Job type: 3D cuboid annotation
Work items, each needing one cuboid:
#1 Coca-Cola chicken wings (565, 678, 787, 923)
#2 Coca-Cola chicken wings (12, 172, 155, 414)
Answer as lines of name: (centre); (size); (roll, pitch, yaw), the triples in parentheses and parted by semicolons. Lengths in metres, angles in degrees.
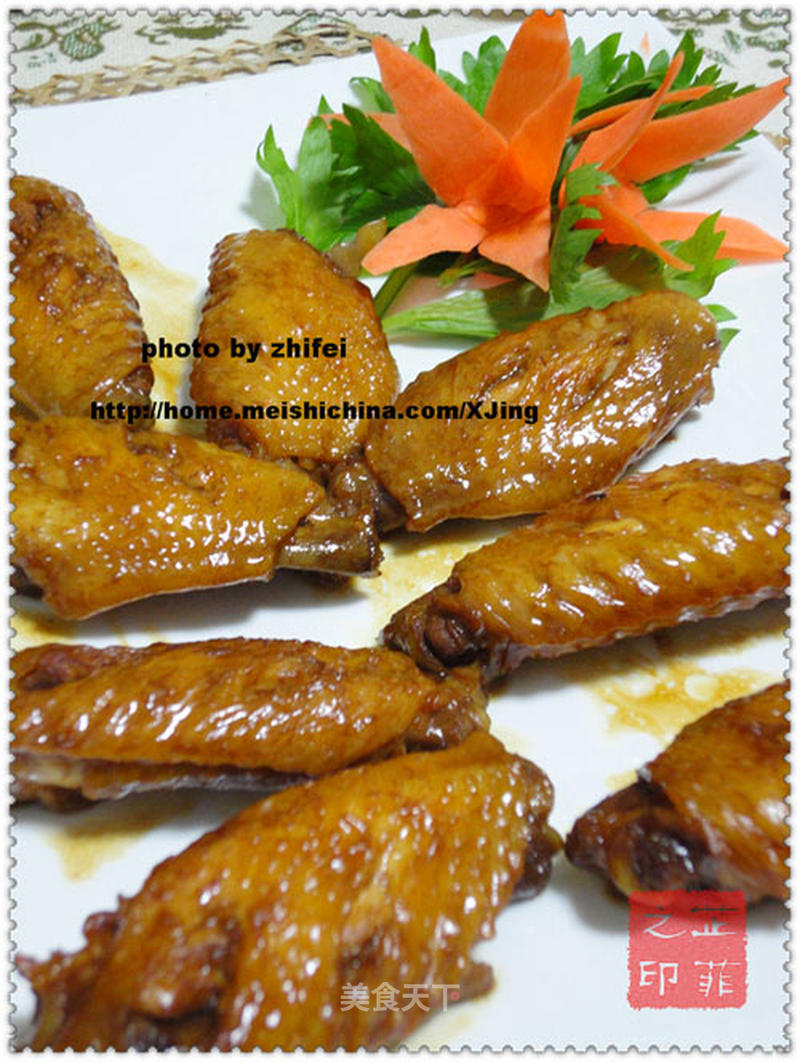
Coca-Cola chicken wings: (0.460, 0.424, 1.568); (0.353, 0.314, 0.223); (3, 9, 10)
Coca-Cola chicken wings: (-0.725, -0.469, 2.031); (0.318, 0.480, 0.194); (-6, -5, -37)
